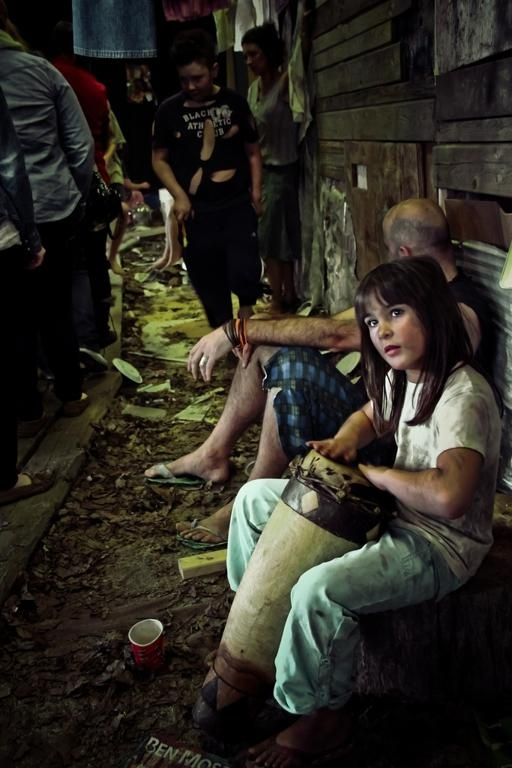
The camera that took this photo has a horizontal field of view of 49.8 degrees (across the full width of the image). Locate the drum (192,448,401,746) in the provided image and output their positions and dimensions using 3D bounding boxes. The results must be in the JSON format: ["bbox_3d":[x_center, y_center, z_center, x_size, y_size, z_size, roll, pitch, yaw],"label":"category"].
[{"bbox_3d":[0.085,0.481,1.488,0.318,0.933,0.331,26,-2,1],"label":"drum"}]

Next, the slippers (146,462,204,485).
[{"bbox_3d":[-0.431,0.497,2.922,0.226,0.086,0.143,6,-10,1],"label":"slippers"}]

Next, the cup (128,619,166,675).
[{"bbox_3d":[-0.347,0.846,1.790,0.124,0.144,0.133,-2,12,0],"label":"cup"}]

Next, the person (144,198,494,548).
[{"bbox_3d":[0.216,-0.056,2.300,1.176,1.293,0.639,3,5,-12],"label":"person"}]
